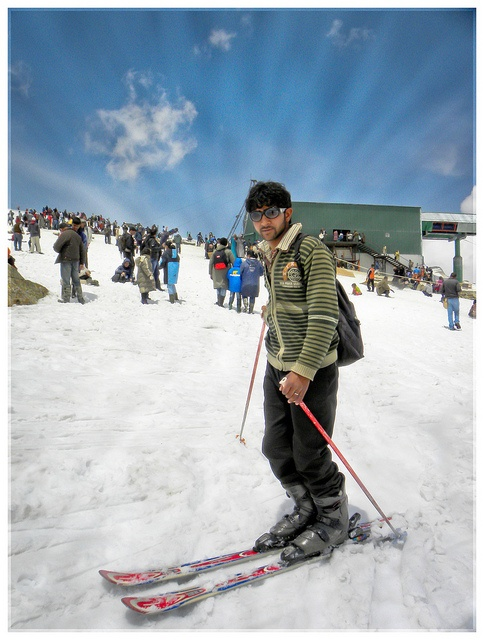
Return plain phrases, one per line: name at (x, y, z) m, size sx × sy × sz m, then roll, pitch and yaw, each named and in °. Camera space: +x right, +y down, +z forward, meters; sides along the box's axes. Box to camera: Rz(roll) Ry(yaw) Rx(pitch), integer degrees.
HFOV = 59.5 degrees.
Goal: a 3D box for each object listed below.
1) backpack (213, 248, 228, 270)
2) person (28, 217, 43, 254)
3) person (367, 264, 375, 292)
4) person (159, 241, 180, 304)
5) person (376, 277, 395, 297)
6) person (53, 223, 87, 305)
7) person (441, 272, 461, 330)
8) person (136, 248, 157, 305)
backpack at (-0.598, -1.656, 11.574) m, size 0.407 × 0.549 × 0.278 m, roll 1°, pitch 6°, yaw 1°
person at (-8.312, -3.400, 17.109) m, size 0.460 × 1.431 × 1.603 m, roll -2°, pitch 7°, yaw -26°
person at (6.274, -1.957, 20.710) m, size 0.341 × 1.156 × 1.660 m, roll 3°, pitch 7°, yaw 16°
person at (-2.046, -1.326, 11.894) m, size 0.487 × 1.701 × 1.305 m, roll 0°, pitch 7°, yaw -10°
person at (6.373, -1.431, 19.168) m, size 0.561 × 0.745 × 0.919 m, roll 5°, pitch 8°, yaw 30°
person at (-3.962, -1.251, 9.805) m, size 0.589 × 1.815 × 1.145 m, roll -1°, pitch 7°, yaw -21°
person at (6.142, -0.459, 12.488) m, size 0.448 × 1.615 × 1.238 m, roll 5°, pitch 7°, yaw 30°
person at (-2.538, -1.145, 11.130) m, size 0.446 × 1.464 × 0.851 m, roll 0°, pitch 6°, yaw -14°
